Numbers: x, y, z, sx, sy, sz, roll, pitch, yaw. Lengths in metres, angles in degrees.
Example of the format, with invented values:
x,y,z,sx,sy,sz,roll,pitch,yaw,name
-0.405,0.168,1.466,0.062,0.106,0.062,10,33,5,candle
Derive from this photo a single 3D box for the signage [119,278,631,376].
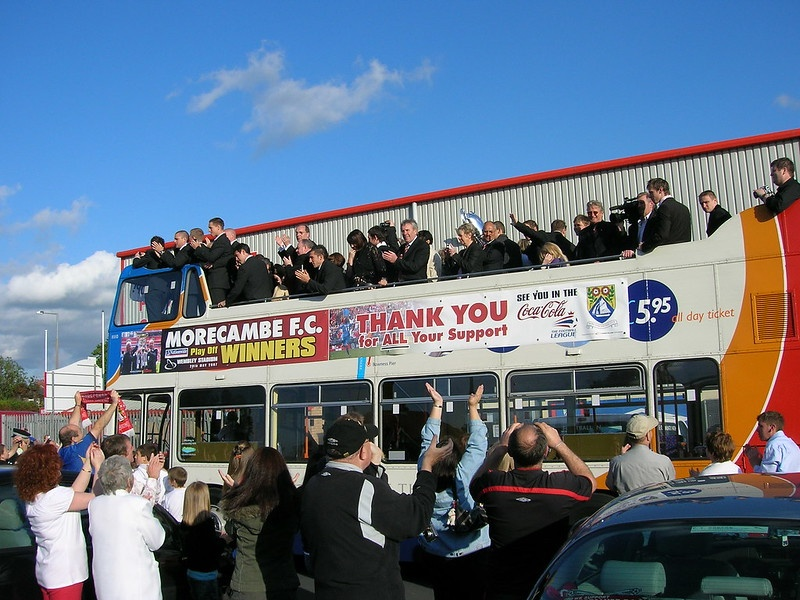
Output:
x,y,z,sx,sy,sz,roll,pitch,yaw,name
-0.485,0.505,13.875,7.592,1.554,1.111,-5,-6,14,signage

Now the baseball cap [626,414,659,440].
x,y,z,sx,sy,sz,roll,pitch,yaw,name
2.488,1.292,9.906,0.323,0.167,0.203,-30,22,-37,baseball cap

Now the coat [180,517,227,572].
x,y,z,sx,sy,sz,roll,pitch,yaw,name
-1.881,2.373,9.246,0.391,0.479,0.336,-4,4,-14,coat

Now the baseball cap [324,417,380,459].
x,y,z,sx,sy,sz,roll,pitch,yaw,name
-0.392,1.107,7.709,0.410,0.308,0.253,-3,4,-7,baseball cap

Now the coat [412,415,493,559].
x,y,z,sx,sy,sz,roll,pitch,yaw,name
0.443,1.723,8.804,0.614,1.240,0.414,-8,-19,22,coat

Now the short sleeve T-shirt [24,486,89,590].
x,y,z,sx,sy,sz,roll,pitch,yaw,name
-3.099,2.156,8.711,0.476,0.875,0.267,-4,4,-22,short sleeve T-shirt
